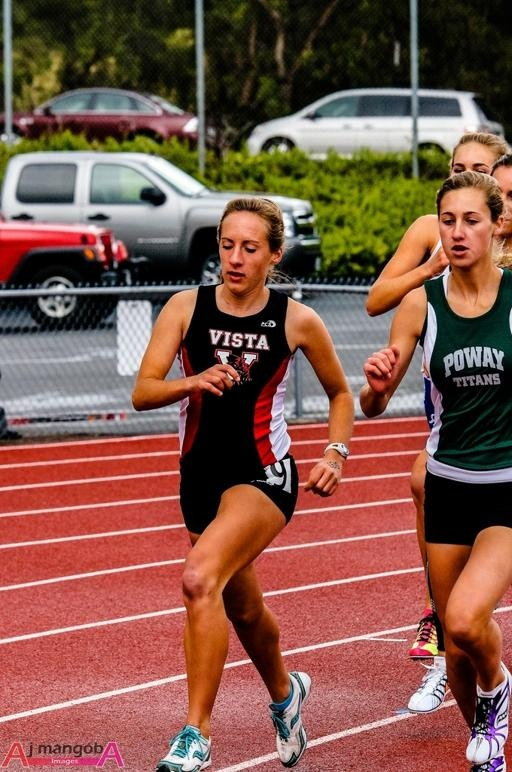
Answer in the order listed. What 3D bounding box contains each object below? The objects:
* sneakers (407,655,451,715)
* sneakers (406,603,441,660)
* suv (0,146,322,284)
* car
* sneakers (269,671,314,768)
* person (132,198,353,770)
[{"bbox_3d":[0.659,1.103,3.030,0.126,0.150,0.375,3,10,23],"label":"sneakers"},{"bbox_3d":[0.730,1.098,3.462,0.088,0.106,0.263,0,4,14],"label":"sneakers"},{"bbox_3d":[-1.677,-3.635,16.310,6.572,2.822,3.249,-1,11,0],"label":"suv"},{"bbox_3d":[-3.470,-6.421,19.438,4.136,1.385,1.701,3,3,0],"label":"car"},{"bbox_3d":[0.085,0.994,2.390,0.099,0.281,0.135,-5,-10,36],"label":"sneakers"},{"bbox_3d":[-0.076,0.199,2.214,0.498,1.481,0.903,0,0,31],"label":"person"}]
